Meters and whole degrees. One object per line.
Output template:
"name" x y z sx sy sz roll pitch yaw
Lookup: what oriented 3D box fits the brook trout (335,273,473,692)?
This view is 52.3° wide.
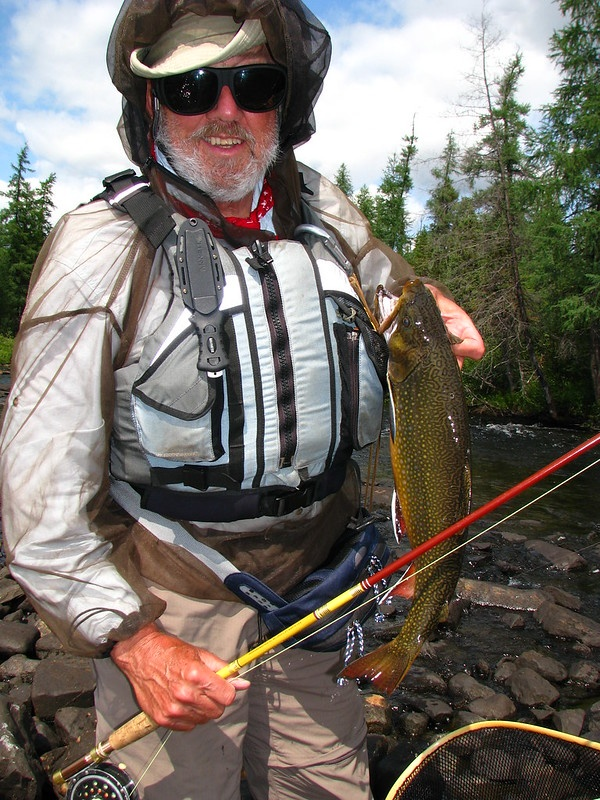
"brook trout" 0.475 0.228 2.304 0.469 1.490 0.444 5 -8 -30
